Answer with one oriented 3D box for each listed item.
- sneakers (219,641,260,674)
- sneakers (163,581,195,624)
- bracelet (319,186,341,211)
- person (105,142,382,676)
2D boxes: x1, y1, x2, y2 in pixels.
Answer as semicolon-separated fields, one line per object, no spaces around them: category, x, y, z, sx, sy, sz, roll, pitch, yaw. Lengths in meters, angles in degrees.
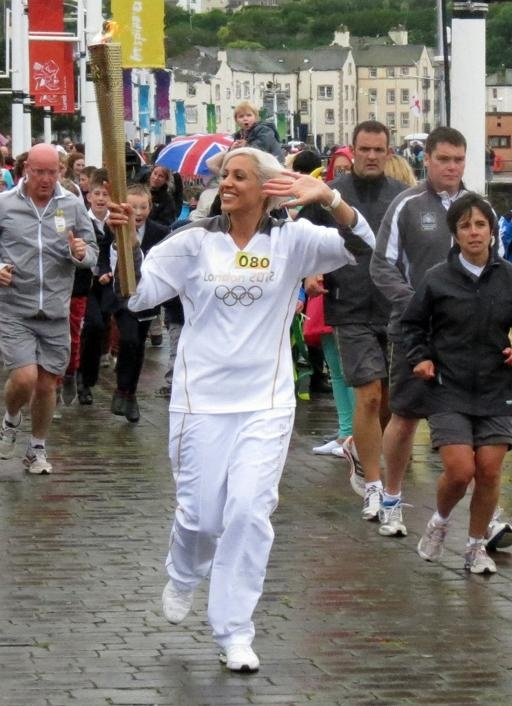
sneakers;-0.042;0.958;3.175;0.067;0.057;0.141;2;-9;-16
sneakers;-0.287;0.881;3.561;0.075;0.085;0.186;26;31;-32
bracelet;0.265;-0.540;3.542;0.043;0.070;0.068;21;22;6
person;-0.116;0.144;3.442;0.654;1.663;0.629;6;5;24
